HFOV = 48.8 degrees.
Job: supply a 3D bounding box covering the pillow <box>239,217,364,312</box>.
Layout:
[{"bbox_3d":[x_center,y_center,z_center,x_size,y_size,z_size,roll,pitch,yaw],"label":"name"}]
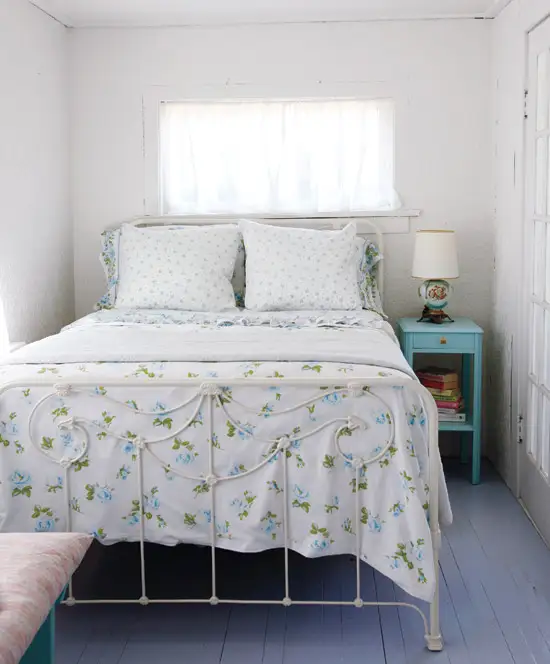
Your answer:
[{"bbox_3d":[0.109,-0.278,2.650,0.416,0.377,0.120,1,-15,0],"label":"pillow"}]
